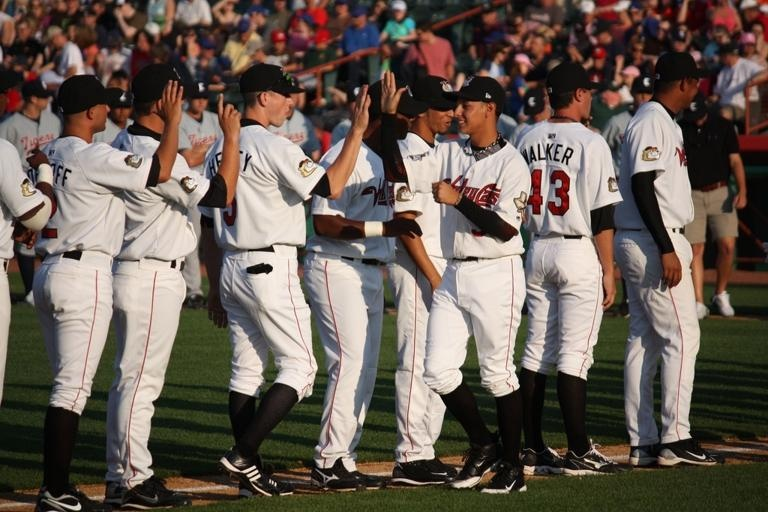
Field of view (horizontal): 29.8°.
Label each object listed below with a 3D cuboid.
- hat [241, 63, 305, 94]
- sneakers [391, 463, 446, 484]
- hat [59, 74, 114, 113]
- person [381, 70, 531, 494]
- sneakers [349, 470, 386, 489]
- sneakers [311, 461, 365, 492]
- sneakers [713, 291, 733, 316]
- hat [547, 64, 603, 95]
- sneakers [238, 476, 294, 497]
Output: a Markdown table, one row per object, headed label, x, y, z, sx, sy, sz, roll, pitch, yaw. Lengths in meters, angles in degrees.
| label | x | y | z | sx | sy | sz | roll | pitch | yaw |
| --- | --- | --- | --- | --- | --- | --- | --- | --- | --- |
| hat | -1.220 | -1.829 | 15.074 | 0.496 | 0.246 | 0.342 | -5 | 11 | -8 |
| sneakers | 0.356 | 2.308 | 15.341 | 0.678 | 0.287 | 0.226 | 1 | -4 | 0 |
| hat | -3.100 | -1.681 | 14.846 | 0.473 | 0.265 | 0.343 | -28 | 28 | -27 |
| person | 0.982 | 0.279 | 14.908 | 1.050 | 4.323 | 0.591 | 0 | -3 | 2 |
| sneakers | -0.227 | 2.348 | 15.125 | 0.471 | 0.193 | 0.147 | -2 | 4 | -7 |
| sneakers | -0.511 | 2.325 | 15.199 | 0.592 | 0.276 | 0.226 | 2 | -5 | 11 |
| sneakers | 5.055 | 0.715 | 21.219 | 0.178 | 0.218 | 0.519 | -9 | 36 | -6 |
| hat | 2.036 | -1.892 | 15.585 | 0.459 | 0.245 | 0.331 | -20 | 18 | -16 |
| sneakers | -1.198 | 2.356 | 14.907 | 0.607 | 0.252 | 0.212 | -2 | 5 | -13 |
